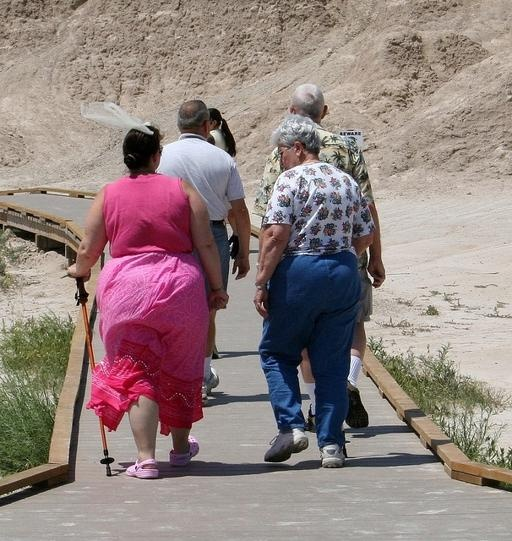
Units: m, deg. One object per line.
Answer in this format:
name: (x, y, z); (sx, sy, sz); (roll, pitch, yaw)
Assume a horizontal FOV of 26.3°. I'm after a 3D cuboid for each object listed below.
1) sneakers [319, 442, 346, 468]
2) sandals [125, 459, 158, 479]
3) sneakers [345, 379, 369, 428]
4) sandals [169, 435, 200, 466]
sneakers: (0.356, 0.862, 5.050); (0.118, 0.109, 0.113); (0, 3, -8)
sandals: (-0.515, 0.883, 4.836); (0.074, 0.058, 0.139); (2, -2, -36)
sneakers: (0.513, 0.706, 5.668); (0.120, 0.246, 0.104); (-13, 11, -6)
sandals: (-0.345, 0.858, 5.171); (0.078, 0.079, 0.187); (3, 18, 14)
